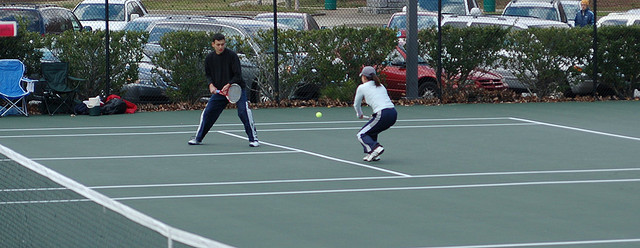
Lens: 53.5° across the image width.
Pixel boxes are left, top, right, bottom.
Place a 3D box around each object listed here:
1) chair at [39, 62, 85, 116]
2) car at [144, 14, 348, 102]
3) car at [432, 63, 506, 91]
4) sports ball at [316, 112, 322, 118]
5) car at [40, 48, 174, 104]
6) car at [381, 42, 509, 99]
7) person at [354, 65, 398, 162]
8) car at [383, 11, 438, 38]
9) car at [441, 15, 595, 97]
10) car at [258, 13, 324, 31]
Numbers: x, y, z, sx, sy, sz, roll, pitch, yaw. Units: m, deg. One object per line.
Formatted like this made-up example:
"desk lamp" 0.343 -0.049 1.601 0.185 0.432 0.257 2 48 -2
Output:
"chair" -11.500 -1.570 28.155 2.268 2.147 1.669 -8 18 -36
"car" -3.612 -3.171 30.160 9.332 2.842 3.933 2 7 9
"car" 7.215 -2.362 30.696 3.396 0.927 1.431 0 16 -11
"sports ball" -0.063 -0.383 26.793 0.258 0.201 0.216 -12 44 -44
"car" -9.708 -2.301 29.973 5.071 2.038 2.671 -1 7 -6
"car" 6.045 -2.616 31.002 6.259 1.905 2.646 1 7 3
"person" 1.971 -0.376 23.205 1.459 3.401 0.872 2 7 2
"car" 4.646 -5.140 32.548 2.766 1.421 1.898 0 7 -9
"car" 9.943 -3.472 31.171 7.835 2.569 3.449 2 12 5
"car" -1.406 -5.090 30.424 2.388 1.011 1.325 1 8 -1
